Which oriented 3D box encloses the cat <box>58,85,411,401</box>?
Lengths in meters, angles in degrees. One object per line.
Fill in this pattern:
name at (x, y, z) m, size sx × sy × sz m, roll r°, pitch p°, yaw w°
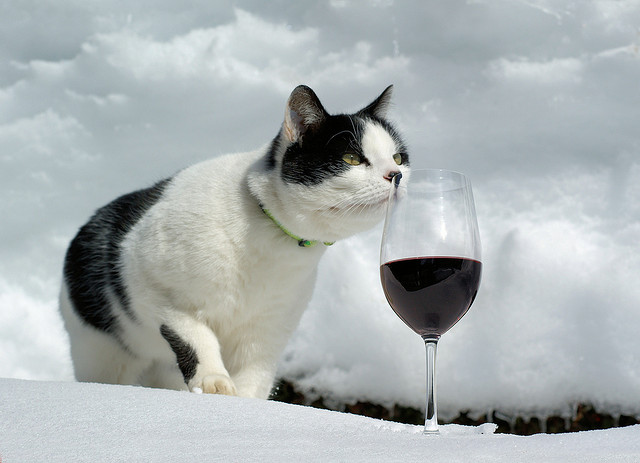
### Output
cat at (-0.385, 0.154, 2.340) m, size 1.535 × 0.508 × 0.901 m, roll -15°, pitch 67°, yaw 46°
